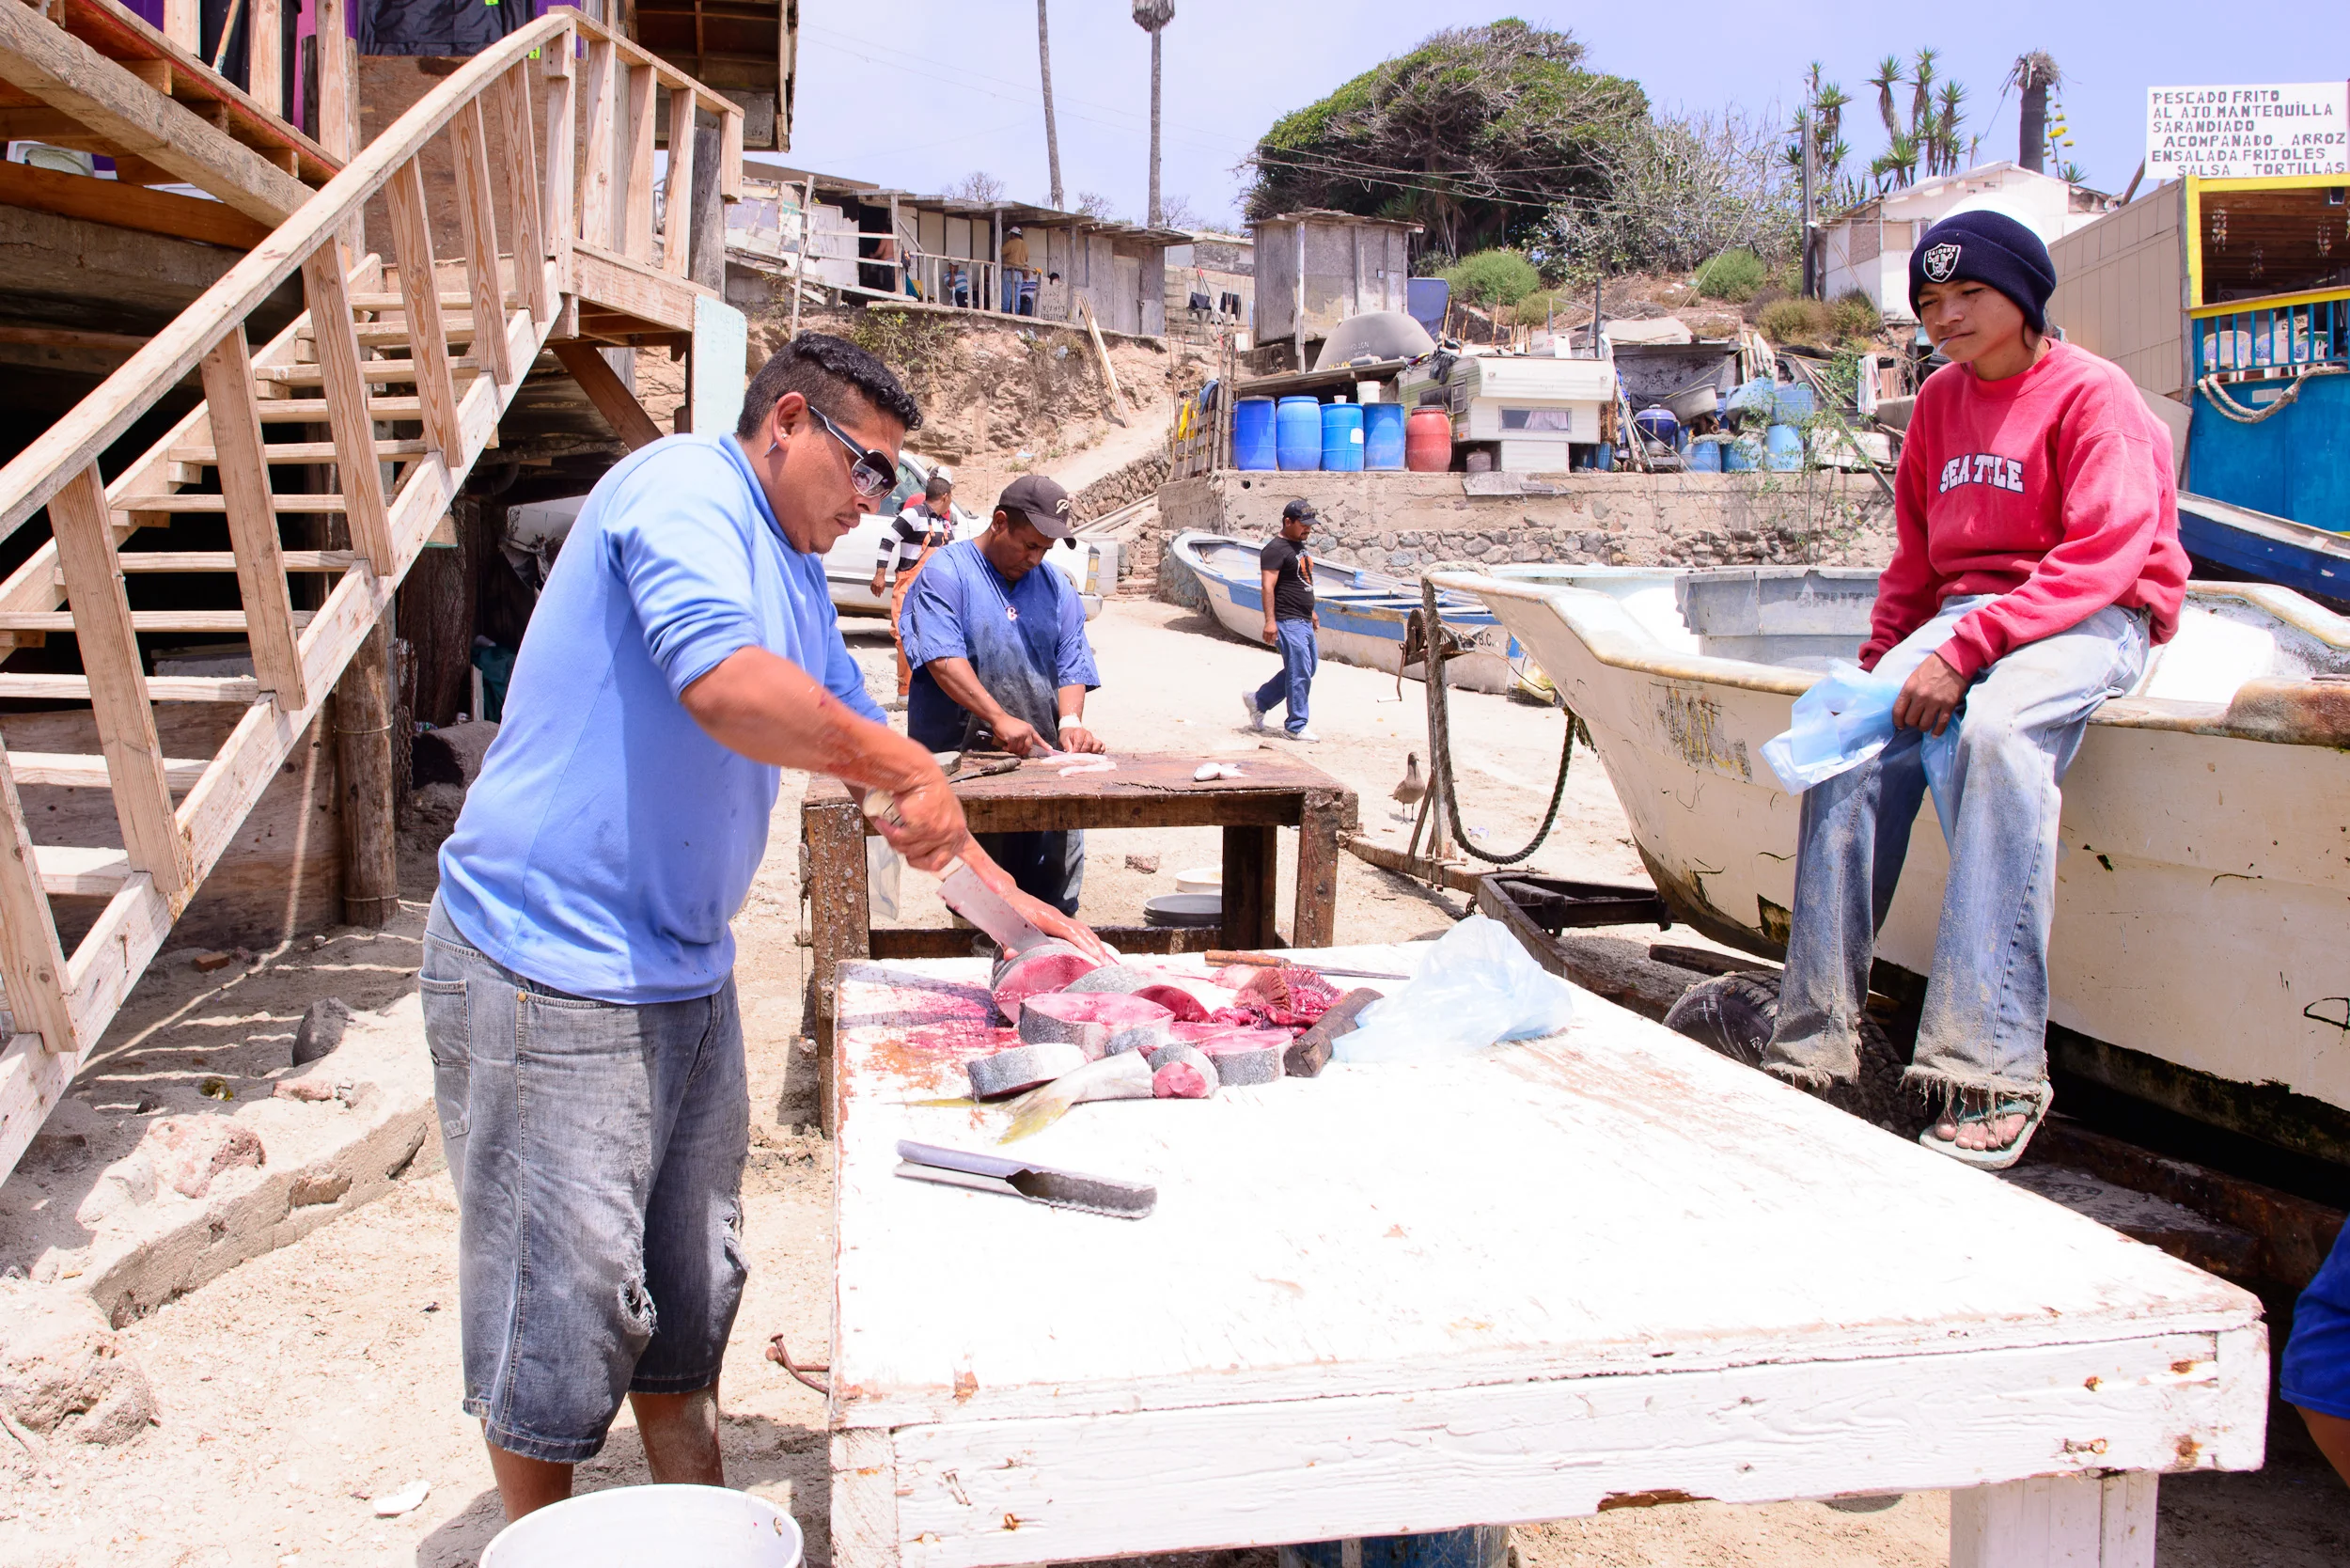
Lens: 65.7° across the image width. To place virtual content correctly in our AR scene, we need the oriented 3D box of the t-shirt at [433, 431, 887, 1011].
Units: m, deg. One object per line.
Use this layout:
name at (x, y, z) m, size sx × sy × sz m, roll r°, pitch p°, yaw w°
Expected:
t-shirt at (-1.257, -0.150, 4.331) m, size 0.962 × 1.360 × 0.494 m, roll -4°, pitch 10°, yaw -22°

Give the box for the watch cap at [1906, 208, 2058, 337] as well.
watch cap at (2.393, -1.524, 5.472) m, size 0.411 × 0.324 × 0.328 m, roll 10°, pitch 5°, yaw 20°

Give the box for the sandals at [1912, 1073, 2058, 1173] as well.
sandals at (2.345, 0.929, 5.138) m, size 0.628 × 0.245 × 0.238 m, roll 2°, pitch 0°, yaw -42°

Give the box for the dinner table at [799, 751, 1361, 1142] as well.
dinner table at (-0.431, 0.329, 7.272) m, size 2.046 × 1.888 × 1.535 m, roll 1°, pitch 5°, yaw -7°

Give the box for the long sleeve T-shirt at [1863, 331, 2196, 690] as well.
long sleeve T-shirt at (2.630, -0.862, 5.832) m, size 1.092 × 1.244 × 1.071 m, roll -6°, pitch 7°, yaw -16°

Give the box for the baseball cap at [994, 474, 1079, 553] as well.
baseball cap at (-0.582, -1.123, 7.311) m, size 0.333 × 0.189 × 0.233 m, roll 34°, pitch 13°, yaw 28°

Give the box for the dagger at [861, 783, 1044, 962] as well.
dagger at (-0.698, 0.278, 5.858) m, size 0.146 × 0.831 × 0.073 m, roll -34°, pitch 23°, yaw 18°
